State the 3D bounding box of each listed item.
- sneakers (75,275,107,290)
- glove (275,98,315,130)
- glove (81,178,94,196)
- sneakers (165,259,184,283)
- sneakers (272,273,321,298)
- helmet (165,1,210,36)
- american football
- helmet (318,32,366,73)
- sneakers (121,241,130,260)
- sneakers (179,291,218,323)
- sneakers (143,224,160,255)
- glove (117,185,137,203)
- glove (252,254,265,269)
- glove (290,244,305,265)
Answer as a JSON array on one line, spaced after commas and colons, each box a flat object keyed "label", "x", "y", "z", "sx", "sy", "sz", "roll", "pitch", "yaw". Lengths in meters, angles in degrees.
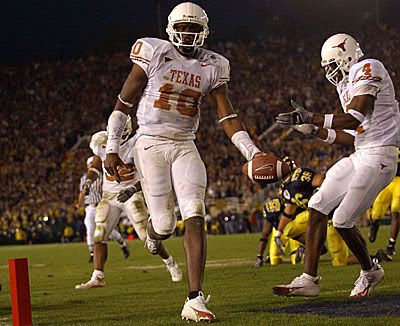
[{"label": "sneakers", "x": -1.074, "y": 1.184, "z": 5.530, "sx": 0.324, "sy": 0.148, "sz": 0.117, "roll": 4, "pitch": -4, "yaw": -16}, {"label": "glove", "x": 0.782, "y": -0.406, "z": 4.549, "sx": 0.306, "sy": 0.214, "sz": 0.200, "roll": -1, "pitch": 10, "yaw": 5}, {"label": "glove", "x": -1.166, "y": 0.237, "z": 5.734, "sx": 0.112, "sy": 0.204, "sz": 0.080, "roll": 14, "pitch": -16, "yaw": -27}, {"label": "sneakers", "x": -0.292, "y": 1.146, "z": 5.955, "sx": 0.110, "sy": 0.319, "sz": 0.136, "roll": -34, "pitch": -18, "yaw": 23}, {"label": "sneakers", "x": 0.793, "y": 1.038, "z": 4.697, "sx": 0.441, "sy": 0.243, "sz": 0.164, "roll": 2, "pitch": -12, "yaw": 1}, {"label": "helmet", "x": -0.103, "y": -1.164, "z": 4.533, "sx": 0.247, "sy": 0.257, "sz": 0.297, "roll": 1, "pitch": 12, "yaw": -3}, {"label": "american football", "x": 0.534, "y": 0.045, "z": 4.428, "sx": 0.373, "sy": 0.246, "sz": 0.255, "roll": 3, "pitch": -5, "yaw": 15}, {"label": "helmet", "x": 1.229, "y": -0.984, "z": 5.065, "sx": 0.398, "sy": 0.347, "sz": 0.294, "roll": -43, "pitch": 10, "yaw": 2}, {"label": "sneakers", "x": -1.219, "y": 1.401, "z": 8.917, "sx": 0.104, "sy": 0.331, "sz": 0.146, "roll": -4, "pitch": 14, "yaw": 27}, {"label": "sneakers", "x": 0.038, "y": 1.057, "z": 4.052, "sx": 0.355, "sy": 0.270, "sz": 0.123, "roll": -8, "pitch": -20, "yaw": 38}, {"label": "sneakers", "x": -0.441, "y": 0.729, "z": 5.195, "sx": 0.133, "sy": 0.191, "sz": 0.409, "roll": 3, "pitch": -16, "yaw": -7}, {"label": "glove", "x": -0.712, "y": 0.298, "z": 5.398, "sx": 0.146, "sy": 0.043, "sz": 0.149, "roll": -23, "pitch": -17, "yaw": -11}, {"label": "glove", "x": 0.703, "y": 1.172, "z": 6.692, "sx": 0.128, "sy": 0.206, "sz": 0.355, "roll": -1, "pitch": 11, "yaw": 6}, {"label": "glove", "x": 1.162, "y": 1.075, "z": 6.551, "sx": 0.119, "sy": 0.105, "sz": 0.280, "roll": 8, "pitch": -35, "yaw": 2}]
